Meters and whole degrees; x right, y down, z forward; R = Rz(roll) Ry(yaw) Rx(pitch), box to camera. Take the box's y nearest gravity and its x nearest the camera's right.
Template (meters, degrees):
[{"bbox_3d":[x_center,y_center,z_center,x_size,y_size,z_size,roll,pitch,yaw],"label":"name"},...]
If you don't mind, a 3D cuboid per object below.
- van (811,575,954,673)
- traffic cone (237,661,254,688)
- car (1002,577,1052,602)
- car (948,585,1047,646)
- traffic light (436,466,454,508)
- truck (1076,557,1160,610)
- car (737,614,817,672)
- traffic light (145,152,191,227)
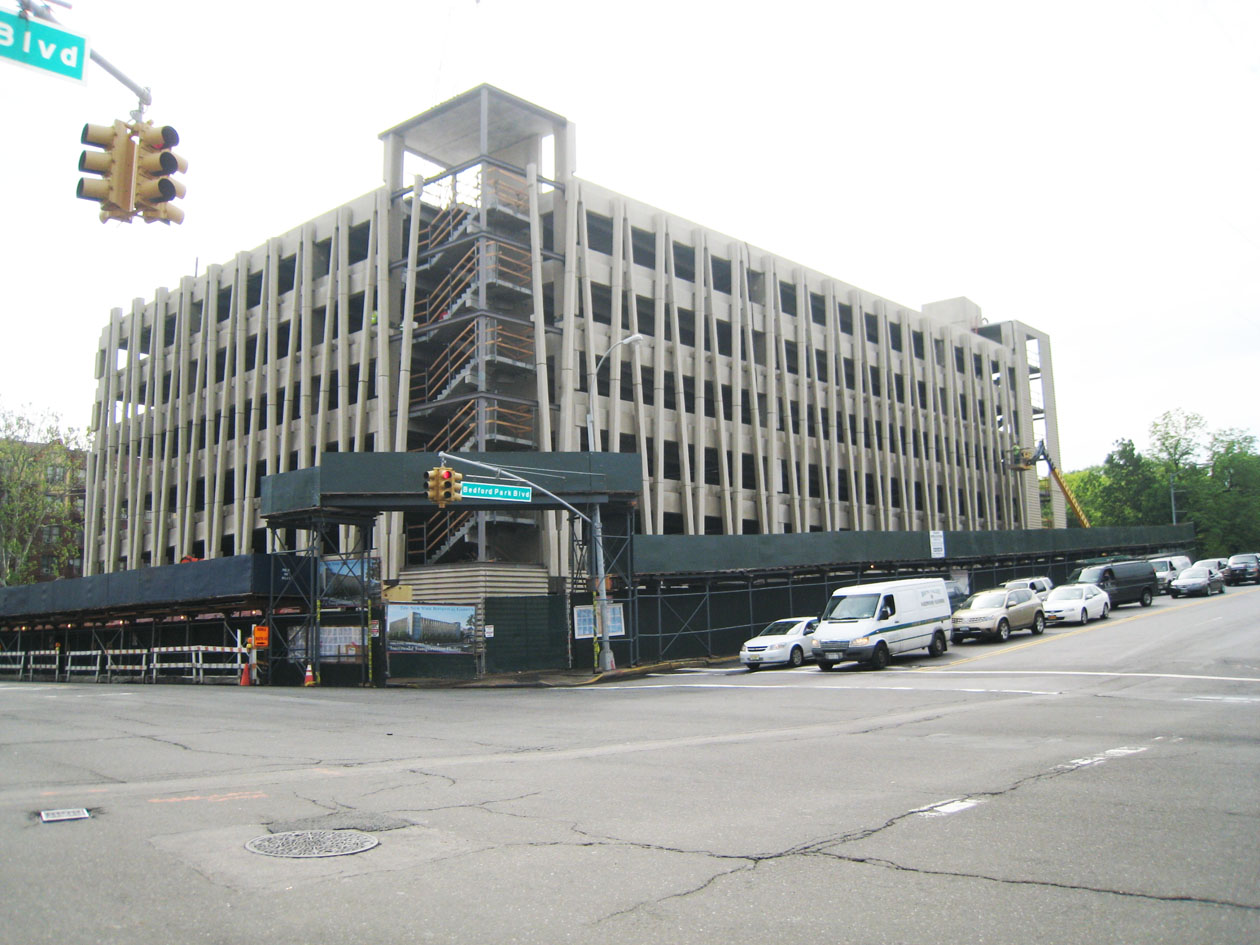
[{"bbox_3d":[7.642,4.743,32.423,5.435,2.587,2.700,7,-15,-40],"label":"van"},{"bbox_3d":[-13.269,6.908,36.215,0.470,0.798,1.065,2,-12,-22],"label":"traffic cone"},{"bbox_3d":[14.620,4.134,38.156,2.263,1.033,1.104,10,-14,-37],"label":"car"},{"bbox_3d":[12.433,4.887,36.095,3.386,1.956,1.848,5,-13,-33],"label":"car"},{"bbox_3d":[-4.921,0.251,28.323,0.499,1.040,0.935,-1,-11,-9],"label":"traffic light"},{"bbox_3d":[19.955,4.629,43.061,3.098,1.535,2.147,6,-12,-34],"label":"truck"},{"bbox_3d":[4.921,5.675,34.627,1.361,1.637,2.618,-12,-14,40],"label":"car"},{"bbox_3d":[-5.995,-3.618,13.454,0.505,0.952,0.567,3,-12,-28],"label":"traffic light"}]
